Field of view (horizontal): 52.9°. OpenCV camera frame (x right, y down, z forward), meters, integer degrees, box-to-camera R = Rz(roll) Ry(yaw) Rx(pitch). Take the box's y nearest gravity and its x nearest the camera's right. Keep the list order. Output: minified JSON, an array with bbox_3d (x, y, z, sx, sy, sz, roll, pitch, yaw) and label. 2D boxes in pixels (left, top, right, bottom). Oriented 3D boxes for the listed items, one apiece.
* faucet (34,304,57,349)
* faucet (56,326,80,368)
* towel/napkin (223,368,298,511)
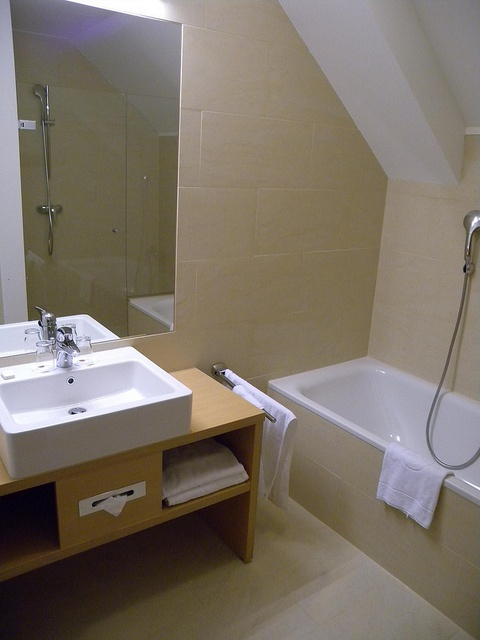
[{"bbox_3d":[-0.606,0.024,1.522,0.054,0.113,0.144,-4,12,-35],"label":"faucet"},{"bbox_3d":[-0.533,0.090,1.486,0.042,0.124,0.093,-8,31,-36],"label":"faucet"},{"bbox_3d":[0.072,0.463,1.794,0.075,0.444,0.378,-9,26,-20],"label":"towel/napkin"}]
